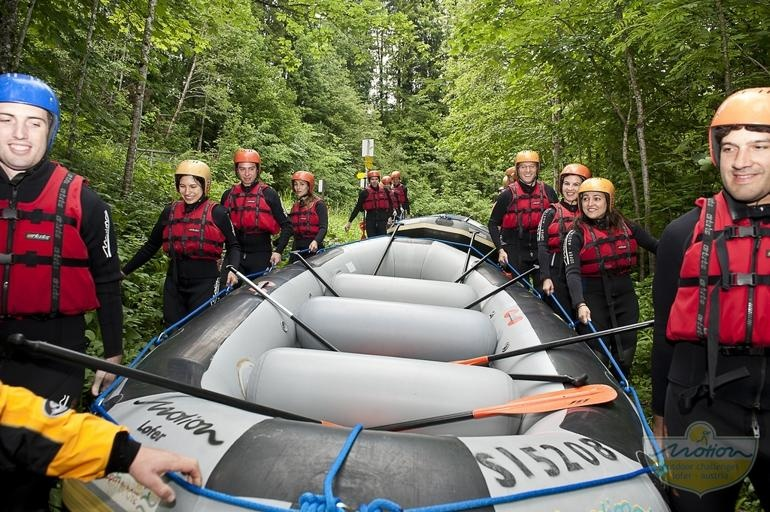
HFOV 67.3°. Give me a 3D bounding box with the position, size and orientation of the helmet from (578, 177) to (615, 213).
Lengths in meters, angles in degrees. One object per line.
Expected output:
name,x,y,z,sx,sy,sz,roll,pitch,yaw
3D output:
helmet,2.064,-0.597,5.552,0.273,0.258,0.344,9,10,35

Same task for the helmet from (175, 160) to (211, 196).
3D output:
helmet,-1.879,-0.749,5.564,0.294,0.305,0.343,6,-4,15

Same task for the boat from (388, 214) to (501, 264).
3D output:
boat,0.915,-0.303,7.899,0.689,0.306,1.112,10,12,-31

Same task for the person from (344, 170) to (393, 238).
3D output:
person,-0.236,-1.242,13.254,0.803,1.660,1.534,4,-3,2

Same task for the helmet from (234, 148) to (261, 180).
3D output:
helmet,-1.612,-1.087,6.837,0.323,0.373,0.342,0,43,-6

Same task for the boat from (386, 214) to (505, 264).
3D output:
boat,0.804,-0.252,7.973,1.167,0.317,0.664,5,33,-23

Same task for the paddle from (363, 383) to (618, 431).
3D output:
paddle,0.629,0.973,3.683,1.454,0.054,0.157,-8,29,-4

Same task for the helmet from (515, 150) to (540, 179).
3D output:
helmet,1.767,-1.111,7.157,0.273,0.389,0.318,3,-3,12

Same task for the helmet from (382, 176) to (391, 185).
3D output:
helmet,0.036,-1.965,15.052,0.237,0.231,0.306,-5,10,1

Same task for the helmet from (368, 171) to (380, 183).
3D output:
helmet,-0.261,-1.822,13.334,0.264,0.286,0.321,-6,5,-9
